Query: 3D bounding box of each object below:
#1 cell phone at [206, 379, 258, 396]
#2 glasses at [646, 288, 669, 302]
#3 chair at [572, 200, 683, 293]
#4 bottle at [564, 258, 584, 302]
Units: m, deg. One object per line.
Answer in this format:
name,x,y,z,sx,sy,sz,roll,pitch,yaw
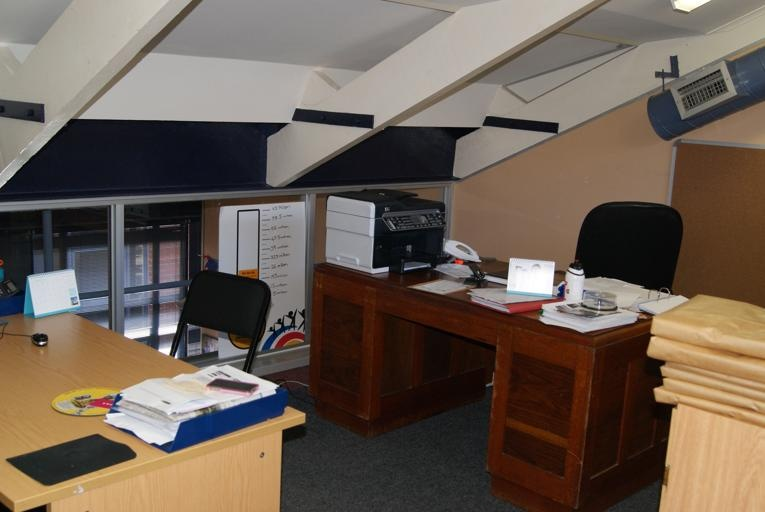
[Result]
cell phone,-0.581,0.509,2.132,0.233,0.023,0.128,4,7,17
glasses,1.549,0.221,3.119,0.119,0.113,0.044,5,3,8
chair,1.569,-0.137,3.804,0.575,0.769,0.665,5,15,18
bottle,1.027,0.136,2.966,0.097,0.202,0.155,4,16,18
